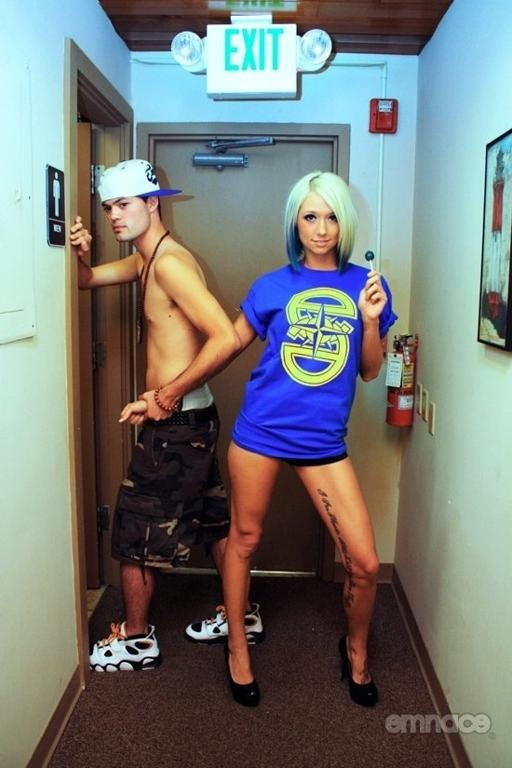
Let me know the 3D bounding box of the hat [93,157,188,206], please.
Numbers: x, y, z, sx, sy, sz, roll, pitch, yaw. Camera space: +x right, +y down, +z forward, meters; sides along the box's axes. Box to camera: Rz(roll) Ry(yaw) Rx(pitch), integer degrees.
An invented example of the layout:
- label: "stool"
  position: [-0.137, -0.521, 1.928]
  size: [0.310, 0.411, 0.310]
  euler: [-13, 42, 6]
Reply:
- label: "hat"
  position: [-0.359, -0.608, 1.812]
  size: [0.250, 0.128, 0.160]
  euler: [-17, 28, -17]

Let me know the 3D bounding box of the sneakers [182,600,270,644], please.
- label: "sneakers"
  position: [-0.103, 0.861, 2.107]
  size: [0.339, 0.168, 0.124]
  euler: [2, 16, 2]

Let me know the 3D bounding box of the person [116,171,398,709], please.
- label: "person"
  position: [0.147, 0.186, 1.712]
  size: [0.498, 1.543, 0.228]
  euler: [2, 6, 13]

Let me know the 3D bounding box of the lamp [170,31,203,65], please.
- label: "lamp"
  position: [-0.224, -1.100, 1.897]
  size: [0.106, 0.108, 0.029]
  euler: [-9, 13, 15]

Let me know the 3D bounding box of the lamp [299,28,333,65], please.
- label: "lamp"
  position: [0.191, -1.086, 1.884]
  size: [0.101, 0.106, 0.074]
  euler: [2, 6, 8]

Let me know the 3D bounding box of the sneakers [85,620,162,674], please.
- label: "sneakers"
  position: [-0.423, 0.893, 1.961]
  size: [0.271, 0.161, 0.098]
  euler: [3, -9, -5]
